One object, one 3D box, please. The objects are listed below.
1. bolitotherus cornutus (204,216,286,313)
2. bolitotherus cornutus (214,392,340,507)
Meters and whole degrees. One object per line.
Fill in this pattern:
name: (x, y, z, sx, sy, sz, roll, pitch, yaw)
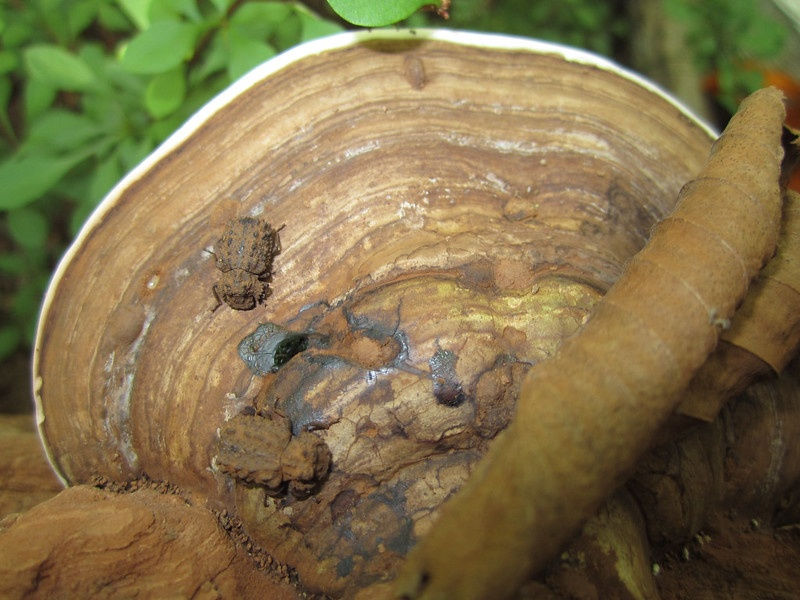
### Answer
bolitotherus cornutus: (-0.782, -0.193, 5.431, 0.328, 0.146, 0.482, 5, 98, -2)
bolitotherus cornutus: (-0.623, 0.782, 5.416, 0.559, 0.210, 0.382, 21, 68, 11)
